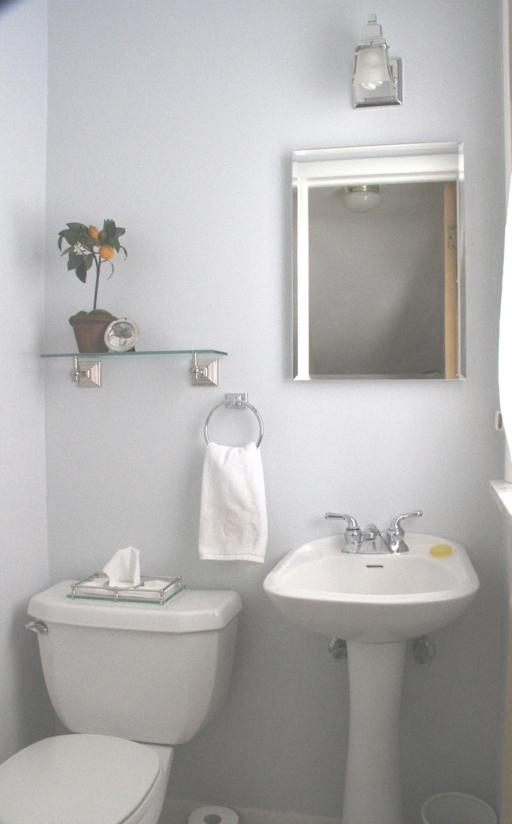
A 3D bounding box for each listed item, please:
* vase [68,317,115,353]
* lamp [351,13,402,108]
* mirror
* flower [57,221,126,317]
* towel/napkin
[{"bbox_3d":[-0.426,-0.204,1.914,0.098,0.079,0.098,2,9,7],"label":"vase"},{"bbox_3d":[0.280,-0.824,1.731,0.120,0.168,0.173,1,5,9],"label":"lamp"},{"bbox_3d":[0.287,-0.338,1.803,0.409,0.545,0.026,0,-5,8],"label":"mirror"},{"bbox_3d":[-0.424,-0.381,1.927,0.176,0.240,0.216,-1,5,-14],"label":"flower"},{"bbox_3d":[-0.057,0.216,1.793,0.162,0.272,0.096,1,5,6],"label":"towel/napkin"}]
